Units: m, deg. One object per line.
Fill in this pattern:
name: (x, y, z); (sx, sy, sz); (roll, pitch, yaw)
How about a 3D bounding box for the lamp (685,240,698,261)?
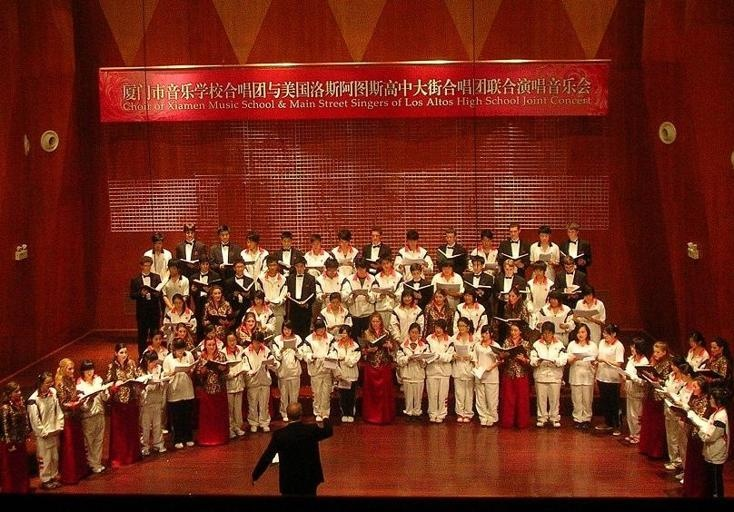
lamp: (4.889, -0.079, 10.788); (0.094, 0.269, 0.279); (-3, 7, 1)
